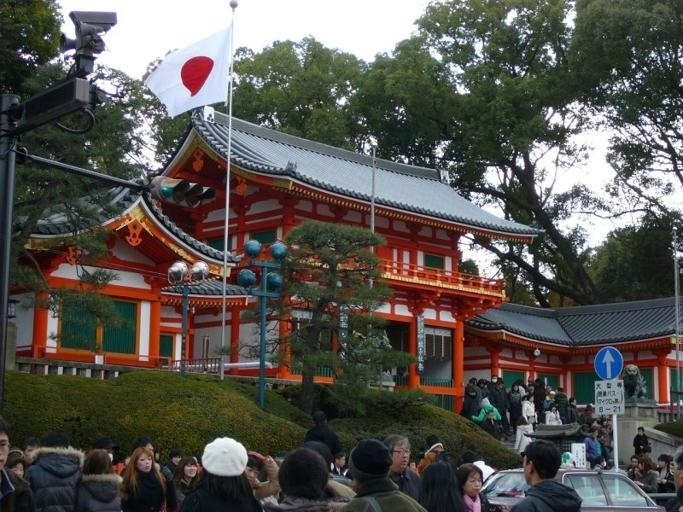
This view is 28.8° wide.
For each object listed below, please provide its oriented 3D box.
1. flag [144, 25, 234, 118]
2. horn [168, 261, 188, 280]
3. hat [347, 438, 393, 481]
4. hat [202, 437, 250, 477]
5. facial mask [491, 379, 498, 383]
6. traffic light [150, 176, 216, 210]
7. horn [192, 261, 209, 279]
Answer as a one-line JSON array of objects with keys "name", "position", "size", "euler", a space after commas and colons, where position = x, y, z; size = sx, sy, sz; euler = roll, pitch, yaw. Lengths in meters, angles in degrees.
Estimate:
[{"name": "flag", "position": [-4.183, -5.028, 36.402], "size": [2.381, 2.533, 0.281], "euler": [5, -11, -18]}, {"name": "horn", "position": [-4.178, 0.377, 33.768], "size": [0.399, 0.508, 0.453], "euler": [32, -10, 0]}, {"name": "hat", "position": [0.516, 3.498, 23.006], "size": [0.652, 0.666, 0.646], "euler": [3, -4, -33]}, {"name": "hat", "position": [-2.028, 3.453, 22.920], "size": [0.749, 0.669, 0.193], "euler": [4, -13, -2]}, {"name": "facial mask", "position": [5.066, 4.125, 43.996], "size": [0.129, 0.169, 0.168], "euler": [-4, -22, 9]}, {"name": "traffic light", "position": [-4.614, -1.779, 37.487], "size": [1.251, 1.286, 1.583], "euler": [-2, -3, 34]}, {"name": "horn", "position": [-3.710, 0.392, 34.715], "size": [0.447, 0.322, 0.368], "euler": [-10, 7, -38]}]
